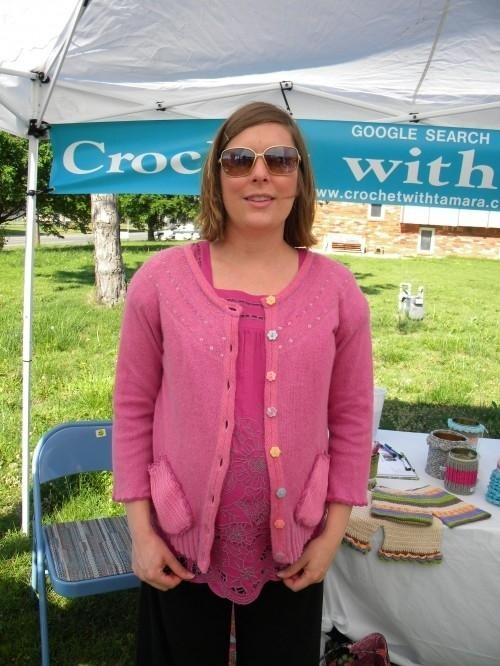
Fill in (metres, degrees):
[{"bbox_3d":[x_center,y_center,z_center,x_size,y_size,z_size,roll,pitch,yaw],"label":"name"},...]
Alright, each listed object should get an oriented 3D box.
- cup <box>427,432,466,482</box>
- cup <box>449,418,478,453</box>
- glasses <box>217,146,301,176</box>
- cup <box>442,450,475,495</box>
[{"bbox_3d":[0.890,0.560,2.551,0.219,0.189,0.208,3,8,0],"label":"cup"},{"bbox_3d":[1.058,0.510,2.695,0.163,0.140,0.155,0,3,0],"label":"cup"},{"bbox_3d":[0.033,-0.392,1.255,0.197,0.076,0.106,1,5,-10],"label":"glasses"},{"bbox_3d":[0.935,0.619,2.436,0.153,0.149,0.126,7,10,27],"label":"cup"}]
